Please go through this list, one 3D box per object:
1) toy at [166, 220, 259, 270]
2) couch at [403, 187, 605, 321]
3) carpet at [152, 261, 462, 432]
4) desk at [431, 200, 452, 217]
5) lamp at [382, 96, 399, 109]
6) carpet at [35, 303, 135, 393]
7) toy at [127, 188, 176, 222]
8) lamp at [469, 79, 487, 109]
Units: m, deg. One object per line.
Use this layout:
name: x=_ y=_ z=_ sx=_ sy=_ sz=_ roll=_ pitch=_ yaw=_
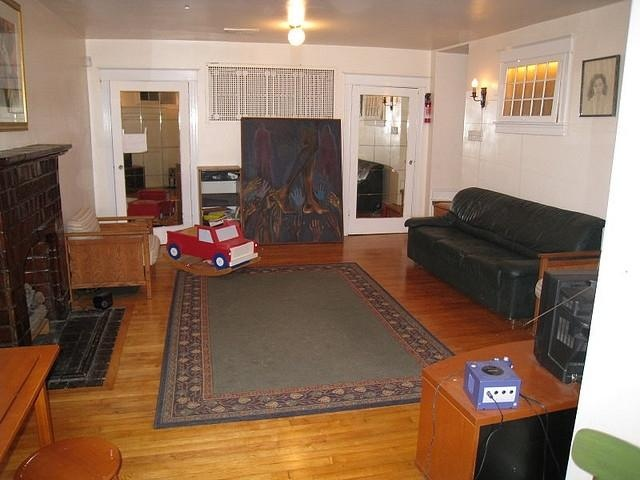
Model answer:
toy: x=-1.384 y=-0.005 z=6.060 sx=0.977 sy=0.466 sz=0.616 roll=8 pitch=16 yaw=25
couch: x=2.084 y=0.067 z=6.018 sx=1.051 sy=1.060 sz=2.519 roll=-6 pitch=15 yaw=-12
carpet: x=-0.266 y=0.882 z=4.884 sx=2.559 sy=0.280 sz=2.823 roll=-4 pitch=13 yaw=-11
desk: x=1.896 y=-0.493 z=7.409 sx=0.275 sy=0.262 sz=0.197 roll=19 pitch=28 yaw=40
lamp: x=1.204 y=-2.325 z=8.062 sx=0.251 sy=0.220 sz=0.058 roll=-1 pitch=9 yaw=-16
carpet: x=-2.198 y=0.945 z=4.368 sx=0.488 sy=0.037 sz=0.829 roll=-2 pitch=26 yaw=-13
toy: x=-2.658 y=-0.564 z=7.657 sx=0.735 sy=0.628 sz=0.551 roll=1 pitch=21 yaw=-5
lamp: x=2.219 y=-2.050 z=6.682 sx=0.181 sy=0.407 sz=0.336 roll=-2 pitch=13 yaw=0
